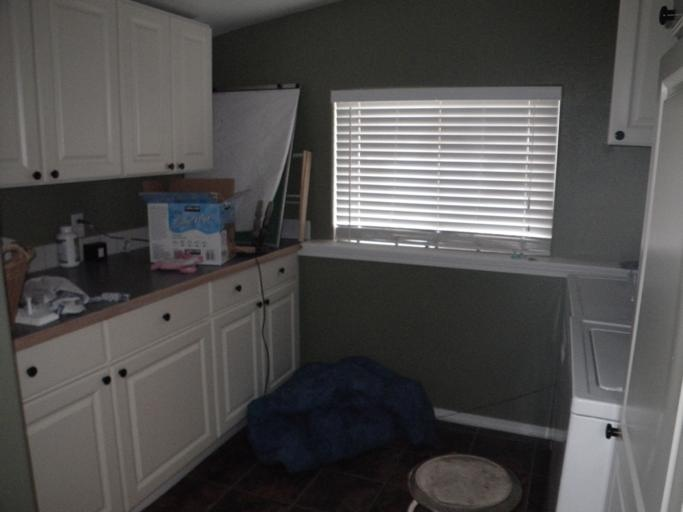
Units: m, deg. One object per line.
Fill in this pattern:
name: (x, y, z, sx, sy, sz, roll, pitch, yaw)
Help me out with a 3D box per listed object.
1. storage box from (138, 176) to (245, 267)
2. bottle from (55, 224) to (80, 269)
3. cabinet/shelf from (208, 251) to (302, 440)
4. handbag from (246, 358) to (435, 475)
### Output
storage box: (-0.751, -0.157, 2.983, 0.634, 0.584, 0.431, 0, 0, 5)
bottle: (-1.404, -0.055, 2.790, 0.111, 0.206, 0.114, 1, 14, 0)
cabinet/shelf: (-0.508, 0.516, 3.056, 0.358, 0.839, 0.950, 0, 8, 19)
handbag: (0.002, 0.854, 2.955, 0.731, 0.223, 0.608, -10, 19, -22)
